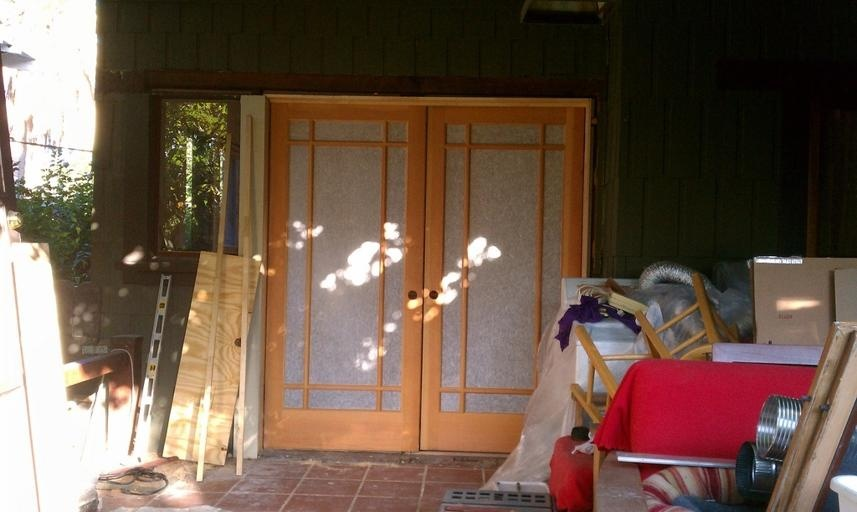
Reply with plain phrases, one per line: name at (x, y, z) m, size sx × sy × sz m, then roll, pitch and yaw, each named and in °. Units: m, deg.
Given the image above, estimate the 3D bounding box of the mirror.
mirror at (-2.106, -0.744, 5.998) m, size 0.810 × 1.418 × 0.131 m, roll 2°, pitch 3°, yaw 6°

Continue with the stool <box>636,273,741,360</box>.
stool at (1.859, 0.431, 4.689) m, size 0.550 × 0.613 × 0.906 m, roll 4°, pitch 2°, yaw 36°

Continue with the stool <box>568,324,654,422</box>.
stool at (1.223, 0.841, 4.714) m, size 0.708 × 0.917 × 0.673 m, roll -3°, pitch -3°, yaw 18°
